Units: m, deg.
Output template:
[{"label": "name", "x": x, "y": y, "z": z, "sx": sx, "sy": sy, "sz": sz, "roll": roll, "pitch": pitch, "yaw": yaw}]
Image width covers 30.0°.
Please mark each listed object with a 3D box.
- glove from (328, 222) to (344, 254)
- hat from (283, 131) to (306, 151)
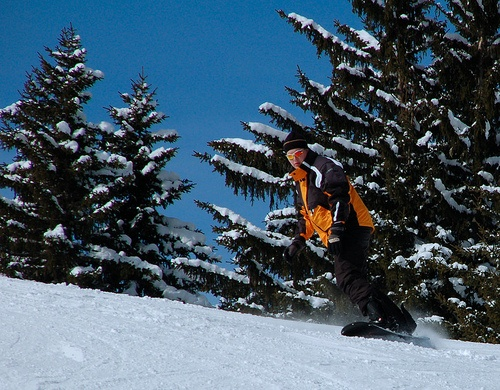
[{"label": "glove", "x": 1.726, "y": 0.841, "z": 18.736, "sx": 0.195, "sy": 0.616, "sz": 0.295, "roll": -2, "pitch": 4, "yaw": -41}, {"label": "hat", "x": 0.929, "y": -1.093, "z": 19.303, "sx": 0.299, "sy": 0.370, "sz": 0.428, "roll": -14, "pitch": -14, "yaw": 36}]
